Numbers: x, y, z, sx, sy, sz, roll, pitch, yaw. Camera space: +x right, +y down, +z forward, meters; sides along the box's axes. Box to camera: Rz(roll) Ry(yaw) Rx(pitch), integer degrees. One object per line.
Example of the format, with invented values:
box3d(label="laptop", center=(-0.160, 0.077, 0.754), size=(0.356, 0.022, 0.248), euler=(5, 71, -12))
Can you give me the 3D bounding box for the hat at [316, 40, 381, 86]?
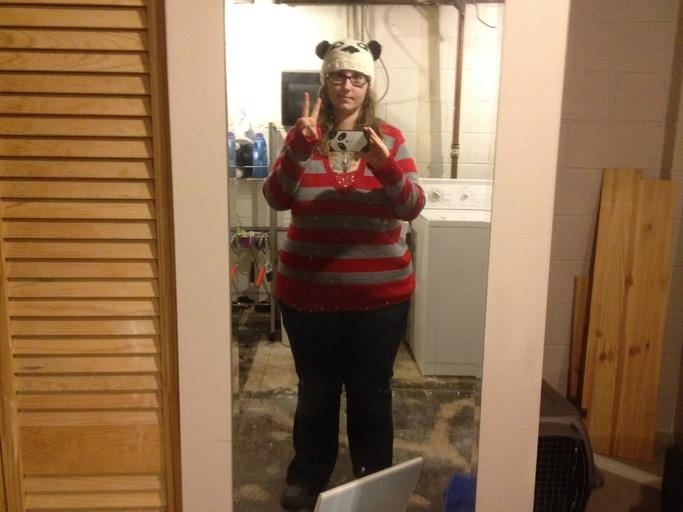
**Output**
box3d(label="hat", center=(0.027, -0.476, 1.644), size=(0.148, 0.102, 0.097), euler=(1, 10, -2))
